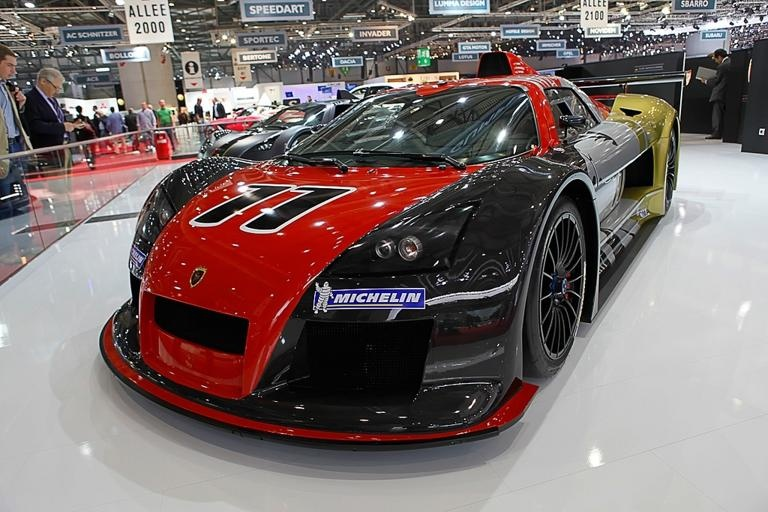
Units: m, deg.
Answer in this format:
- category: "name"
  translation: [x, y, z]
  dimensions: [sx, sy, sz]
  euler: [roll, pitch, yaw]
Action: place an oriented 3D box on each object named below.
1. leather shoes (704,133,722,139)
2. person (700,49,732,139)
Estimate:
- category: "leather shoes"
  translation: [7.981, -2.865, 9.423]
  dimensions: [0.328, 0.108, 0.110]
  euler: [8, 18, 44]
- category: "person"
  translation: [8.034, -3.859, 9.409]
  dimensions: [0.434, 2.031, 1.304]
  euler: [9, 25, 33]
